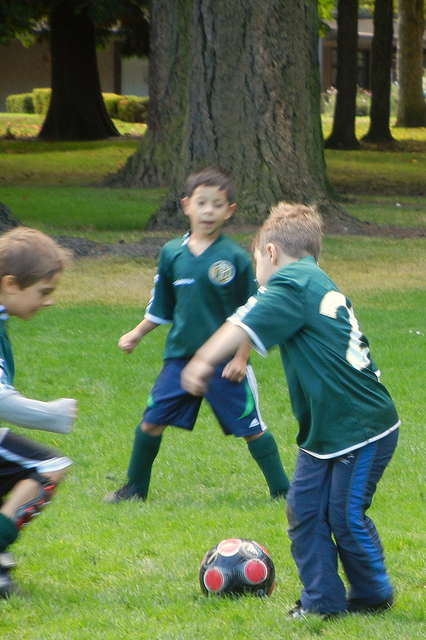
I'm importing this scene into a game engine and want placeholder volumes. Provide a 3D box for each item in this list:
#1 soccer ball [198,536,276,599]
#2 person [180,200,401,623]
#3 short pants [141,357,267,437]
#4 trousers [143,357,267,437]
[{"bbox_3d":[0.074,0.788,2.482,0.247,0.156,0.176,-2,6,-2],"label":"soccer ball"},{"bbox_3d":[0.223,0.276,2.258,0.655,1.219,0.451,-4,7,-18],"label":"person"},{"bbox_3d":[-0.036,0.339,3.268,0.545,0.332,0.190,4,5,3],"label":"short pants"},{"bbox_3d":[-0.032,0.336,3.247,0.563,0.409,0.206,2,3,4],"label":"trousers"}]
